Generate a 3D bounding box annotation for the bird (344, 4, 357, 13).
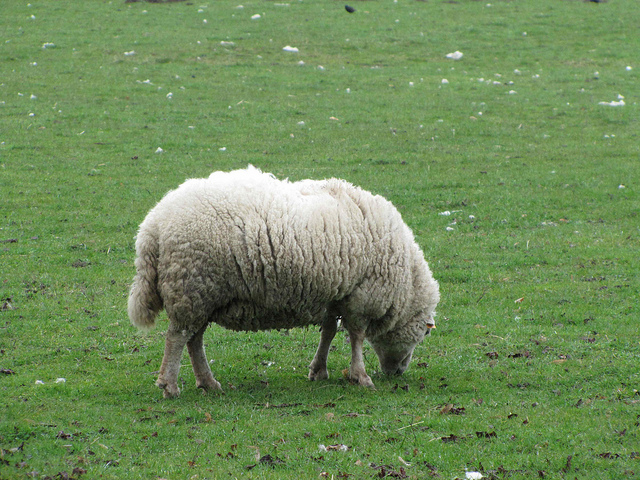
[{"bbox_3d":[1.500,-11.263,54.880,0.684,0.224,0.379,41,-2,-13],"label":"bird"}]
